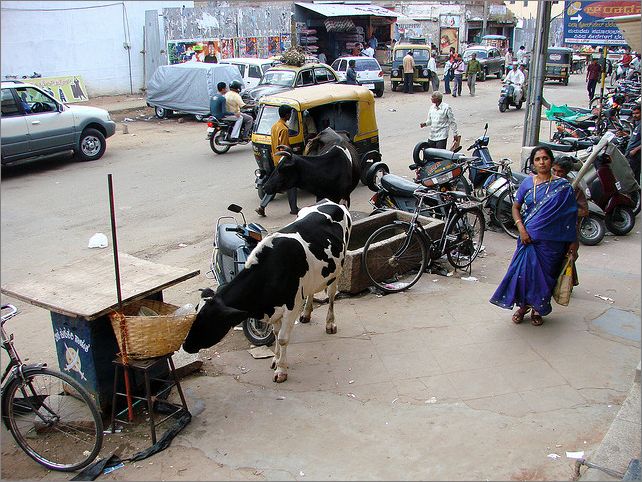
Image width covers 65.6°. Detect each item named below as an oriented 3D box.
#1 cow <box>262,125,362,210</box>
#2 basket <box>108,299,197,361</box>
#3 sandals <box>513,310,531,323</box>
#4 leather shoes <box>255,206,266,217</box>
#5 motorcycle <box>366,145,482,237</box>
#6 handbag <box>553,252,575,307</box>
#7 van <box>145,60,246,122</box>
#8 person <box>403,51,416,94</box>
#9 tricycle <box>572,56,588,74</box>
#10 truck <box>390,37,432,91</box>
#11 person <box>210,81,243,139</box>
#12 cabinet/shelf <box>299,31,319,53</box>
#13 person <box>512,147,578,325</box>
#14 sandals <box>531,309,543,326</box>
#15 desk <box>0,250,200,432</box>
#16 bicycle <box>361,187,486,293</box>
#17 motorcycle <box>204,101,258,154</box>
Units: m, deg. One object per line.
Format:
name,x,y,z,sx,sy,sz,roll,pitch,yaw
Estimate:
cow,-0.071,-0.929,6.887,0.956,1.121,1.403,7,21,21
basket,-1.443,0.745,4.243,0.666,0.275,0.525,-4,11,-26
sandals,2.340,0.850,5.790,0.096,0.070,0.287,1,20,42
leather shoes,-1.135,-0.567,9.349,0.118,0.098,0.262,-42,-7,-2
motorcycle,1.812,-0.865,8.733,2.101,1.169,1.380,-18,27,-25
handbag,2.686,0.397,5.507,0.208,0.507,0.565,14,22,18
van,-4.923,-5.713,18.763,3.368,1.512,2.050,13,35,19
person,4.431,-8.529,25.133,0.545,2.032,0.976,3,22,9
tricycle,18.730,-12.939,36.590,1.081,0.901,1.672,12,25,42
truck,4.655,-9.185,25.815,1.851,1.538,2.810,3,25,11
person,-2.684,-3.484,13.999,0.893,1.234,0.594,17,28,39
cabinet/shelf,-0.803,-12.333,30.709,1.036,1.434,2.254,3,19,9
person,2.397,-0.088,5.417,0.701,1.817,0.607,13,26,30
sandals,2.490,0.881,5.730,0.096,0.087,0.240,-5,18,15
desk,-2.304,0.881,5.110,1.620,1.150,1.587,18,29,29
bicycle,1.483,-0.059,6.970,0.855,1.190,2.278,19,27,41
motorcycle,-2.792,-2.984,14.044,1.682,0.918,0.893,-25,34,-37
